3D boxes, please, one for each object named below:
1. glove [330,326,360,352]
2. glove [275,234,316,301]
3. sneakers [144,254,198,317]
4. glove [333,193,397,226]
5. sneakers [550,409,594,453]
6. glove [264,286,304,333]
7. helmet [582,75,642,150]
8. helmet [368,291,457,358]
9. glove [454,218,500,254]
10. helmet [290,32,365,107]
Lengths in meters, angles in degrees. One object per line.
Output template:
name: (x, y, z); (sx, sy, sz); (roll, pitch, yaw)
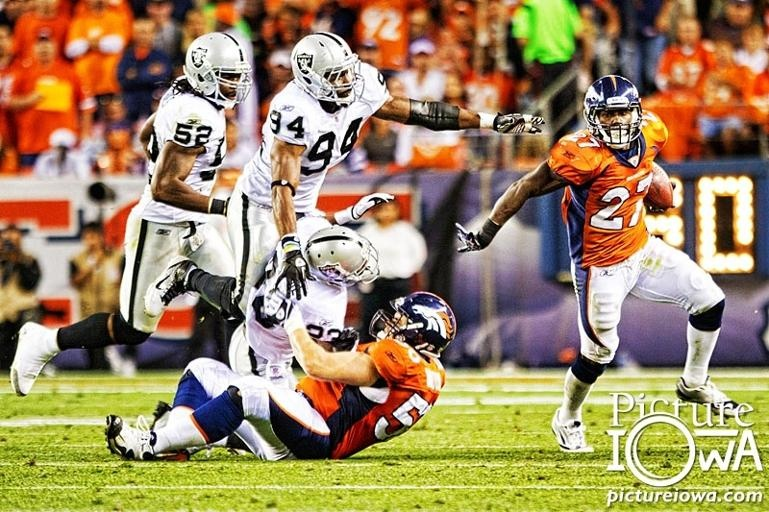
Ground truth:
glove: (-0.287, 0.603, 8.156); (0.201, 0.155, 0.232); (-1, 5, -5)
glove: (-0.641, 0.083, 7.924); (0.317, 0.380, 0.128); (-4, -32, -14)
sneakers: (-1.727, 0.244, 9.134); (0.248, 0.598, 0.268); (40, 5, -34)
glove: (-0.175, -0.428, 10.751); (0.623, 0.146, 0.210); (-23, -39, 35)
sneakers: (1.451, 1.345, 8.733); (0.321, 0.273, 0.273); (1, 5, 16)
glove: (-0.693, 0.376, 7.951); (0.336, 0.150, 0.240); (14, -7, 41)
helmet: (1.770, -1.112, 8.692); (0.438, 0.484, 0.574); (-5, 22, 5)
helmet: (0.263, 0.464, 8.173); (0.600, 0.419, 0.427); (19, 4, 9)
glove: (0.735, -0.132, 8.851); (0.317, 0.300, 0.162); (-10, -19, 4)
helmet: (-0.432, -1.377, 8.501); (0.583, 0.458, 0.449); (23, 32, 19)
